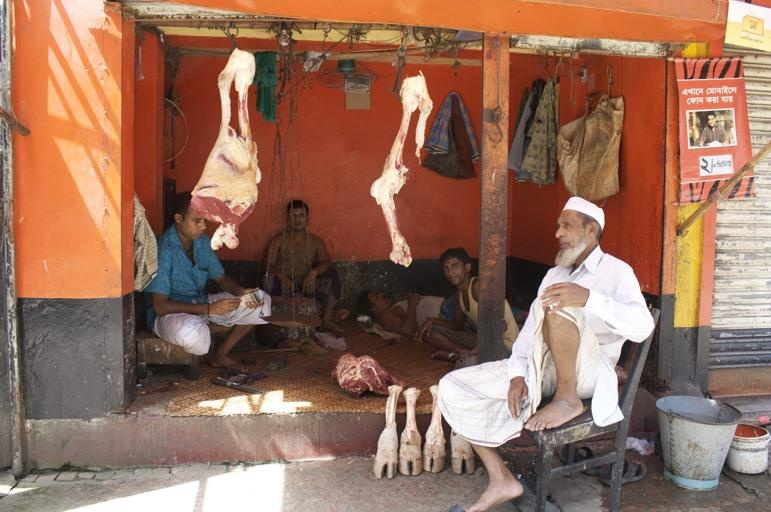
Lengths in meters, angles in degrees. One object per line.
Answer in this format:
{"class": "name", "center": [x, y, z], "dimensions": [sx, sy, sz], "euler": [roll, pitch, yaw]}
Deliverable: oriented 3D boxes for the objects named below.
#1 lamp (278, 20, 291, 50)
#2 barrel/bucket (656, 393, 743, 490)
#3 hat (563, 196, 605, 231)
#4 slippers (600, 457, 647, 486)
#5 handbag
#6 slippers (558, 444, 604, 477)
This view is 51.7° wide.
{"class": "lamp", "center": [-0.918, -1.991, 7.276], "dimensions": [0.111, 0.199, 0.065], "euler": [1, 18, -2]}
{"class": "barrel/bucket", "center": [2.799, 1.662, 7.310], "dimensions": [0.775, 0.707, 0.755], "euler": [2, 1, 0]}
{"class": "hat", "center": [1.719, -0.417, 6.776], "dimensions": [0.313, 0.141, 0.320], "euler": [26, -17, 31]}
{"class": "slippers", "center": [2.125, 1.958, 7.123], "dimensions": [0.437, 0.130, 0.253], "euler": [-11, 17, -29]}
{"class": "handbag", "center": [2.133, -1.110, 8.307], "dimensions": [0.320, 1.057, 0.715], "euler": [-11, 10, -40]}
{"class": "slippers", "center": [1.754, 1.860, 7.208], "dimensions": [0.176, 0.287, 0.542], "euler": [-2, -7, -18]}
